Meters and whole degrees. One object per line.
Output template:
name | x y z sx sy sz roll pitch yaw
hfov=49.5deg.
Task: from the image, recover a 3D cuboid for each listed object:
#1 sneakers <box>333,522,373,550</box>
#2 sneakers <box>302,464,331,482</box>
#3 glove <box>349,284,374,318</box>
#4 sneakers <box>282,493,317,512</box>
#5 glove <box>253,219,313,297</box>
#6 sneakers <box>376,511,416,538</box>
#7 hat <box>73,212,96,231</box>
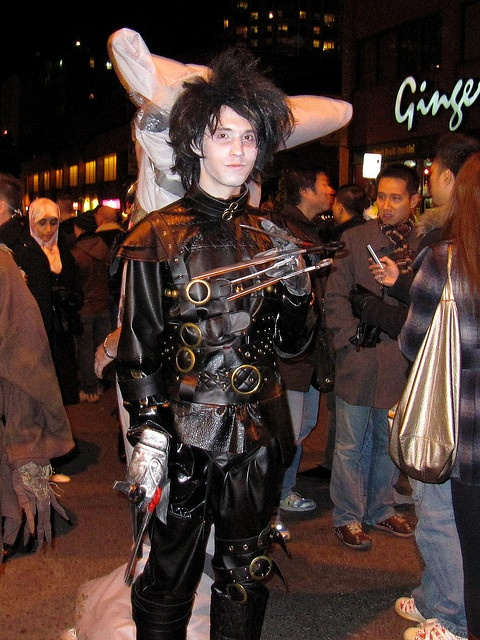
sneakers | 0.680 1.283 3.093 0.086 0.104 0.242 3 -8 -16
sneakers | 0.615 1.242 4.240 0.242 0.095 0.098 3 5 35
glove | 0.642 -0.103 2.827 0.072 0.169 0.130 0 42 -28
sneakers | 0.401 1.283 3.643 0.263 0.119 0.106 0 2 1
glove | 0.137 -0.163 1.452 0.089 0.225 0.181 -18 29 14
sneakers | 0.980 1.294 3.280 0.094 0.090 0.215 5 -10 -29
hat | -2.389 -1.502 8.003 0.334 0.243 0.418 6 12 -16
